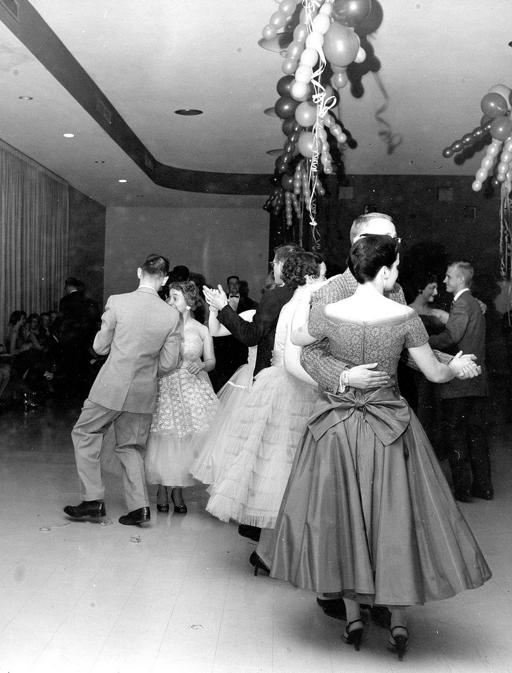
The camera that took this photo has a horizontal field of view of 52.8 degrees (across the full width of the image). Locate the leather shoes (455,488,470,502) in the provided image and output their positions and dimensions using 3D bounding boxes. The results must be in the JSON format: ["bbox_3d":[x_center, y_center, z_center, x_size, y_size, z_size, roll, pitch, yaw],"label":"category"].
[{"bbox_3d":[1.379,1.071,3.428,0.055,0.053,0.126,0,-16,-1],"label":"leather shoes"}]

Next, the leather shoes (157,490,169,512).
[{"bbox_3d":[-0.552,0.975,3.056,0.046,0.156,0.067,1,-25,-17],"label":"leather shoes"}]

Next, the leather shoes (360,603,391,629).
[{"bbox_3d":[0.403,0.920,1.705,0.078,0.072,0.130,-1,-23,4],"label":"leather shoes"}]

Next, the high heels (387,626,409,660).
[{"bbox_3d":[0.387,0.836,1.399,0.048,0.140,0.060,-1,5,12],"label":"high heels"}]
